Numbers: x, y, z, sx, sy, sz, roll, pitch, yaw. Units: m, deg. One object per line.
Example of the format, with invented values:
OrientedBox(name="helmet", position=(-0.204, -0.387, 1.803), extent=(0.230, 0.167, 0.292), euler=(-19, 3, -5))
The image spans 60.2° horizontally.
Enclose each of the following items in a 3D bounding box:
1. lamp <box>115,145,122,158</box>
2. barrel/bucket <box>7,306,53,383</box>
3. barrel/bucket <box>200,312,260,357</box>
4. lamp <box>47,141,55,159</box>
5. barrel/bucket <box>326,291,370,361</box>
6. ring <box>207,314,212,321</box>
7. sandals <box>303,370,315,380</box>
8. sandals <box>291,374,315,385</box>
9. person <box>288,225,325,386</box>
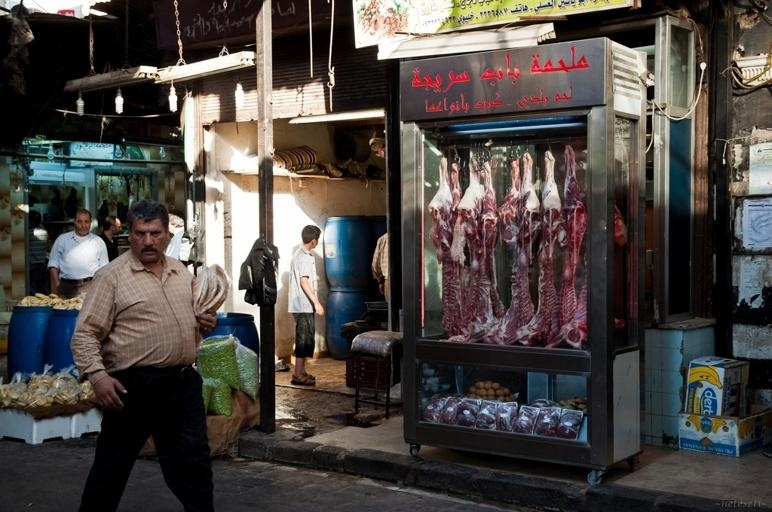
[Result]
OrientedBox(name="lamp", position=(-5.142, -1.998, 12.809), extent=(0.152, 0.233, 0.062), euler=(-6, 7, -31))
OrientedBox(name="barrel/bucket", position=(-4.688, 1.146, 8.686), extent=(0.759, 0.952, 0.315), euler=(-1, 6, 8))
OrientedBox(name="barrel/bucket", position=(-1.831, 0.863, 7.880), extent=(0.615, 0.616, 0.614), euler=(0, -3, 0))
OrientedBox(name="lamp", position=(-6.222, -1.919, 12.342), extent=(0.118, 0.294, 0.108), euler=(-5, 7, -26))
OrientedBox(name="barrel/bucket", position=(-0.669, 1.146, 11.069), extent=(0.536, 1.193, 0.707), euler=(-6, 7, -29))
OrientedBox(name="ring", position=(-1.382, 0.480, 5.208), extent=(0.031, 0.038, 0.013), euler=(-3, 5, -8))
OrientedBox(name="sandals", position=(-1.097, 1.742, 9.653), extent=(0.073, 0.086, 0.221), euler=(0, -4, 13))
OrientedBox(name="sandals", position=(-1.182, 1.755, 9.523), extent=(0.259, 0.104, 0.156), euler=(-2, 3, -6))
OrientedBox(name="person", position=(-1.164, 0.718, 9.592), extent=(0.494, 2.248, 0.612), euler=(-3, 6, -6))
